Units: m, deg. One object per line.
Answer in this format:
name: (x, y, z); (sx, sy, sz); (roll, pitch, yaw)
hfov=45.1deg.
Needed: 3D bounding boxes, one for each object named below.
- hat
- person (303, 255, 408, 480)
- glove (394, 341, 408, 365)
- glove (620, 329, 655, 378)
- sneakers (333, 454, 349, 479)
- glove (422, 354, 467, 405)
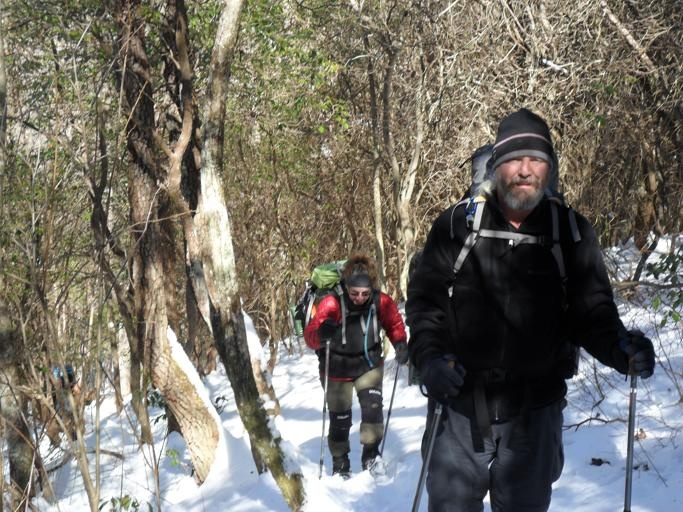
hat: (1.574, -0.979, 7.133); (0.384, 0.550, 0.505); (1, 0, 2)
person: (0.179, 1.368, 10.421); (1.205, 2.678, 0.654); (-7, 4, -5)
glove: (0.729, 1.197, 10.154); (0.156, 0.281, 0.271); (0, -32, 4)
glove: (2.412, 0.815, 6.731); (0.124, 0.416, 0.252); (4, -15, -45)
sneakers: (-0.005, 2.688, 10.401); (0.191, 0.358, 0.246); (17, -23, -31)
glove: (0.843, 1.039, 6.904); (0.265, 0.465, 0.176); (-6, 2, 22)
